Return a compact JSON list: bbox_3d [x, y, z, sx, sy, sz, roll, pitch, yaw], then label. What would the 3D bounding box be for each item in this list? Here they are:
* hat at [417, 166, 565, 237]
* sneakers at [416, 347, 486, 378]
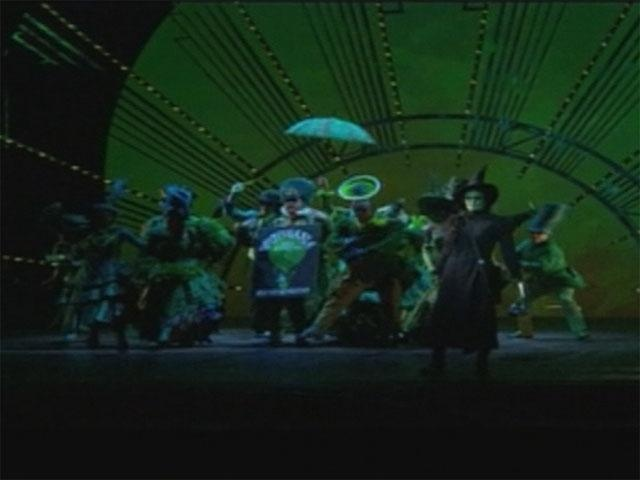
[{"bbox_3d":[1.357,-0.314,4.449,1.123,0.518,0.166,1,-19,5],"label":"hat"},{"bbox_3d":[0.969,0.916,4.204,0.634,0.189,0.165,2,-26,6],"label":"sneakers"}]
